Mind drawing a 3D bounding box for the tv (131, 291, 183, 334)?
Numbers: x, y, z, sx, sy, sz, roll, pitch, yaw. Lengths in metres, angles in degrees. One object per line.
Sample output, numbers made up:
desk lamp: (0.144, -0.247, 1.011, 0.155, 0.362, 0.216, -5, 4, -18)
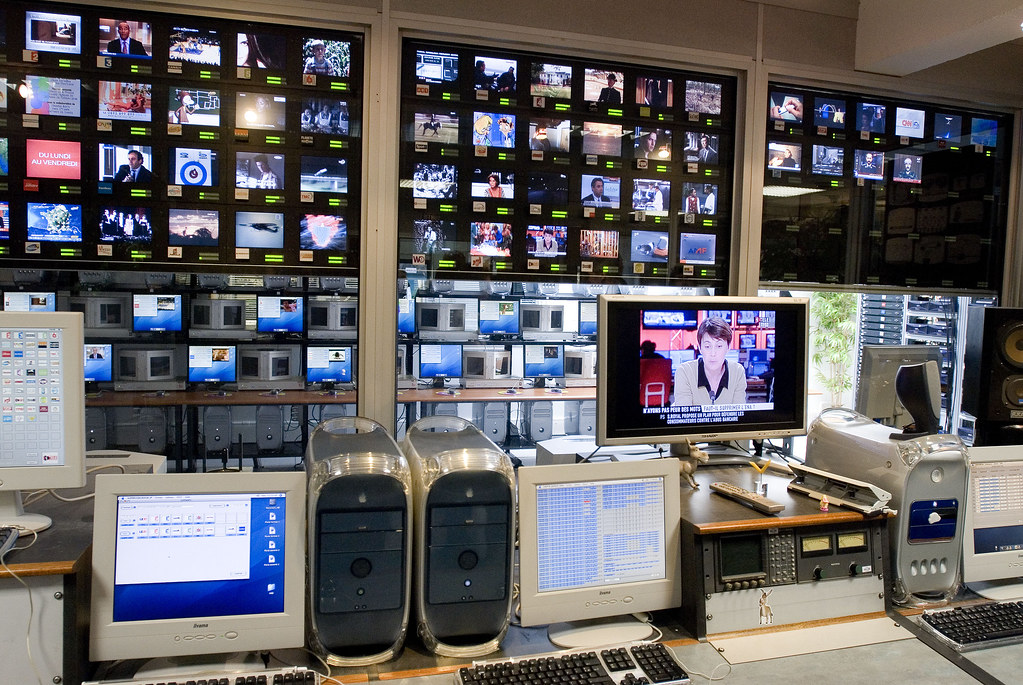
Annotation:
tv: (-1.645, -0.146, 4.062, 0.203, 0.162, 0.020, -1, 7, -11)

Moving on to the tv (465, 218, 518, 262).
tv: (-0.118, -0.493, 4.203, 0.232, 0.150, 0.008, 0, 2, -13)

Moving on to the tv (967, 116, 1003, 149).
tv: (2.495, -1.120, 4.710, 0.190, 0.156, 0.019, 3, -4, -19)

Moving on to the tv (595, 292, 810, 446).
tv: (0.747, 0.101, 3.603, 0.683, 0.422, 0.064, 1, 1, -13)

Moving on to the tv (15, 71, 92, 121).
tv: (-2.018, -1.074, 3.849, 0.244, 0.159, 0.031, 1, -1, -7)

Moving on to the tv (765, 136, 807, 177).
tv: (1.361, -0.945, 4.467, 0.220, 0.149, 0.028, 3, -2, -15)

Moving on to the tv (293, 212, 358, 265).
tv: (-0.880, -0.488, 4.073, 0.265, 0.180, 0.026, 0, -1, -15)

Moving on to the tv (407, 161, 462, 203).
tv: (-0.381, -0.753, 4.130, 0.216, 0.144, 0.026, -2, 5, -13)

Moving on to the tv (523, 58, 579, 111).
tv: (0.165, -1.235, 4.216, 0.281, 0.185, 0.014, 0, 2, -18)

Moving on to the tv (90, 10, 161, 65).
tv: (-1.716, -1.342, 3.882, 0.264, 0.177, 0.034, 1, -2, -8)

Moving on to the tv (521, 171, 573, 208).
tv: (0.146, -0.739, 4.247, 0.196, 0.127, 0.025, 1, -3, -15)

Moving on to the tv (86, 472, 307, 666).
tv: (-1.103, 0.782, 3.029, 0.689, 0.545, 0.234, 2, -6, -10)

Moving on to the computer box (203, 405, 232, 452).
computer box: (-1.432, 0.406, 4.311, 0.155, 0.215, 0.149, 5, 11, 11)

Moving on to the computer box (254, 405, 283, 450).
computer box: (-1.176, 0.412, 4.330, 0.152, 0.221, 0.148, -1, 3, -12)

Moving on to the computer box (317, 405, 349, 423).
computer box: (-0.820, 0.320, 4.014, 0.064, 0.083, 0.095, 4, -1, 3)

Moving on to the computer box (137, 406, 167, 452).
computer box: (-1.723, 0.414, 4.254, 0.158, 0.211, 0.149, 0, 0, 7)

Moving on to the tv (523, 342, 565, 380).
tv: (0.141, 0.082, 4.405, 0.198, 0.151, 0.024, 1, 2, -10)

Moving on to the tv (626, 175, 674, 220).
tv: (0.658, -0.719, 4.357, 0.248, 0.196, 0.031, 0, 2, -17)

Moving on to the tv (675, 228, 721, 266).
tv: (0.908, -0.482, 4.425, 0.212, 0.143, 0.027, 1, 2, -14)

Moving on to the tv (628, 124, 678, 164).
tv: (0.672, -0.980, 4.346, 0.225, 0.147, 0.011, -1, 3, -17)

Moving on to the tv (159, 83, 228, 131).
tv: (-1.440, -1.049, 3.938, 0.235, 0.157, 0.022, 1, -1, -10)

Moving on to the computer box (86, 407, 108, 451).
computer box: (-1.943, 0.390, 4.131, 0.098, 0.168, 0.138, -4, 2, -26)

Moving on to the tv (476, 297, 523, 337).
tv: (-0.076, -0.132, 4.302, 0.204, 0.169, 0.025, 1, 8, -11)

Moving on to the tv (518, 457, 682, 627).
tv: (0.304, 0.740, 3.244, 0.654, 0.535, 0.224, 0, -4, -14)

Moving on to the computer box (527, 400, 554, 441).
computer box: (0.139, 0.404, 4.560, 0.128, 0.204, 0.083, -3, 2, -3)

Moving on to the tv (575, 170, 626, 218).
tv: (0.408, -0.731, 4.299, 0.255, 0.173, 0.033, 1, 1, -13)

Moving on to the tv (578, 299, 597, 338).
tv: (0.363, -0.116, 4.386, 0.080, 0.185, 0.093, -4, 2, -10)

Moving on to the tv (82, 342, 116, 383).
tv: (-1.855, 0.081, 3.945, 0.198, 0.206, 0.021, 0, 1, -8)

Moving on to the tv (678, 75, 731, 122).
tv: (0.931, -1.215, 4.385, 0.256, 0.173, 0.025, 0, 2, -19)

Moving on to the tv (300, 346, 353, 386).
tv: (-0.875, 0.103, 4.169, 0.201, 0.137, 0.025, 0, 1, -1)

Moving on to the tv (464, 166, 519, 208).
tv: (-0.118, -0.741, 4.190, 0.222, 0.144, 0.022, 0, -1, -11)

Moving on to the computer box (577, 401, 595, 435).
computer box: (0.372, 0.382, 4.538, 0.076, 0.173, 0.076, -3, 2, -6)

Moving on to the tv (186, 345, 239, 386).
tv: (-1.421, 0.101, 4.148, 0.201, 0.159, 0.025, 2, 4, -11)

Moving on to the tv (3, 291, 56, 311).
tv: (-2.157, -0.187, 3.947, 0.220, 0.071, 0.070, -3, 2, -21)

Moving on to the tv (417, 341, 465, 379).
tv: (-0.360, 0.079, 4.260, 0.195, 0.133, 0.025, 2, -2, -27)

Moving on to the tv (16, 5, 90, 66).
tv: (-2.012, -1.336, 3.838, 0.290, 0.198, 0.037, 1, -3, -6)

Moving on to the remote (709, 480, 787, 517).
remote: (0.899, 0.603, 3.477, 0.086, 0.062, 0.307, -2, 10, -28)

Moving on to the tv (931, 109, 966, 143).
tv: (2.278, -1.144, 4.662, 0.200, 0.168, 0.020, 1, 1, -14)

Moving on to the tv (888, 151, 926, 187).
tv: (2.038, -0.906, 4.615, 0.203, 0.160, 0.021, 2, -5, -24)

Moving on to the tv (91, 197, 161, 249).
tv: (-1.722, -0.530, 3.927, 0.340, 0.259, 0.175, 0, 0, -14)

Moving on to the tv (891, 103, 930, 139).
tv: (2.052, -1.155, 4.606, 0.206, 0.162, 0.021, 1, 0, -14)

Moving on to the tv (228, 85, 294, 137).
tv: (-1.151, -1.047, 3.985, 0.252, 0.169, 0.032, 3, -1, -14)

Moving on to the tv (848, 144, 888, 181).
tv: (1.815, -0.930, 4.561, 0.207, 0.163, 0.027, 1, 3, -12)
